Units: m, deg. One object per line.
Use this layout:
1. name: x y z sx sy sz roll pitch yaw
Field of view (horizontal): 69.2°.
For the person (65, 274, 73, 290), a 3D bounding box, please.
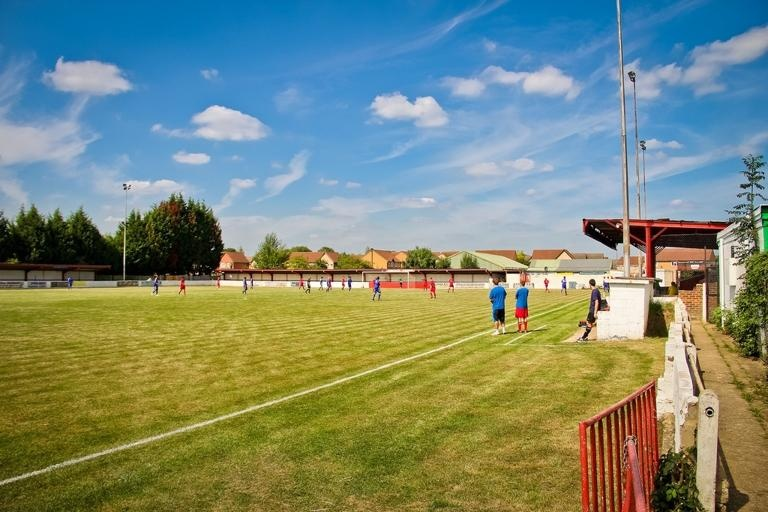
1. person: -34.298 2.886 60.680 0.457 1.321 1.359 -3 -1 1
